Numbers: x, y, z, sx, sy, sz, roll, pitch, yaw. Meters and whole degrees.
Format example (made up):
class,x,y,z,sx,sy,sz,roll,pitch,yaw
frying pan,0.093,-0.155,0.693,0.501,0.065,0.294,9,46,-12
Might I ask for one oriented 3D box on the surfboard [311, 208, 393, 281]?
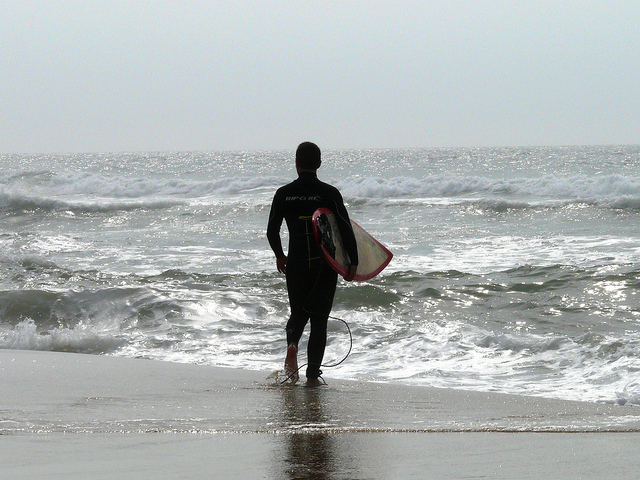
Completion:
class,x,y,z,sx,sy,sz,roll,pitch,yaw
surfboard,0.442,0.101,10.854,0.482,0.879,0.090,-26,-41,-5

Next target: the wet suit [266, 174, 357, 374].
class,x,y,z,sx,sy,sz,roll,pitch,yaw
wet suit,-0.095,0.353,10.591,0.952,2.029,0.506,4,9,2
